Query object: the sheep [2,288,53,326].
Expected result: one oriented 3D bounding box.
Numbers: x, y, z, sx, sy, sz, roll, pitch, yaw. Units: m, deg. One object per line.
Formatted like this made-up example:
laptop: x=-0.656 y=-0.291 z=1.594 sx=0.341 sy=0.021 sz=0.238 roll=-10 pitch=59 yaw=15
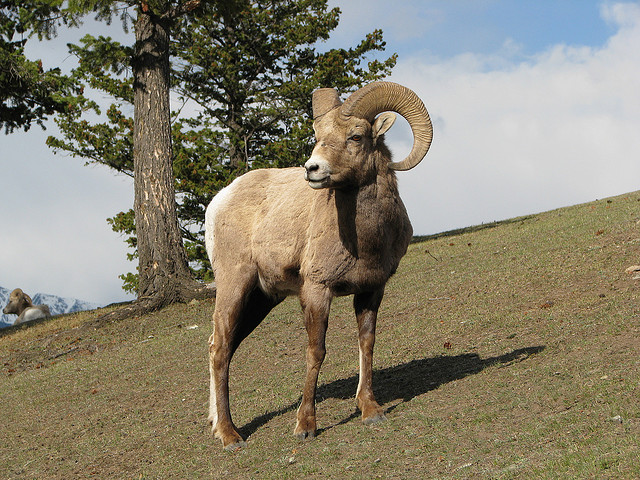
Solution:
sheep: x=-10.901 y=2.364 z=34.975 sx=1.513 sy=1.404 sz=5.059 roll=-13 pitch=3 yaw=-19
